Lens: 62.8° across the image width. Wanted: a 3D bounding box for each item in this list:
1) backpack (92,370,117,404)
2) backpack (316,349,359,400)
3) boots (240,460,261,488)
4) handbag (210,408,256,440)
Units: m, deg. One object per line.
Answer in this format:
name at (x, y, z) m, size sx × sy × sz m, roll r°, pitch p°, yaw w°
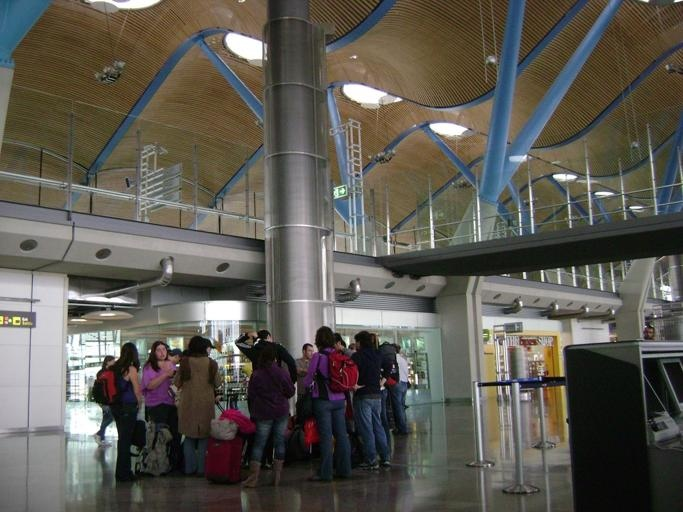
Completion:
backpack at (-3.254, 1.799, 7.716) m, size 0.228 × 0.482 × 0.464 m, roll 6°, pitch -15°, yaw -34°
backpack at (-0.042, 1.576, 7.436) m, size 0.684 × 0.612 × 0.469 m, roll -6°, pitch -9°, yaw 26°
boots at (-1.215, 2.869, 7.457) m, size 0.232 × 0.327 × 0.502 m, roll 0°, pitch -12°, yaw -10°
handbag at (-1.494, 2.300, 7.682) m, size 0.387 × 0.232 × 0.494 m, roll -3°, pitch -7°, yaw 35°
